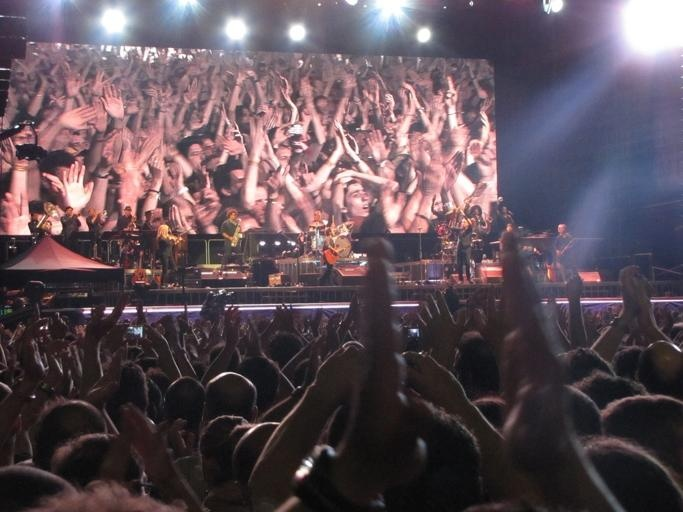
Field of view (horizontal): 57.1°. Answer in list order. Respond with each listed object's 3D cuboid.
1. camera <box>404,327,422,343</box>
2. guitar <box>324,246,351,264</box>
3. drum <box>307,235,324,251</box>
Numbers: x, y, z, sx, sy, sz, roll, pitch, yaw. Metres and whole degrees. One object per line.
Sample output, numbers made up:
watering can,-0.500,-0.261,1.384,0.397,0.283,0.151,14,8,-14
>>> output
camera,0.390,0.437,3.475,0.081,0.081,0.045,1,-11,-5
guitar,-0.160,0.017,13.391,0.426,0.318,0.272,9,-8,-10
drum,-0.611,-0.284,14.330,0.327,0.347,0.312,-1,7,4
